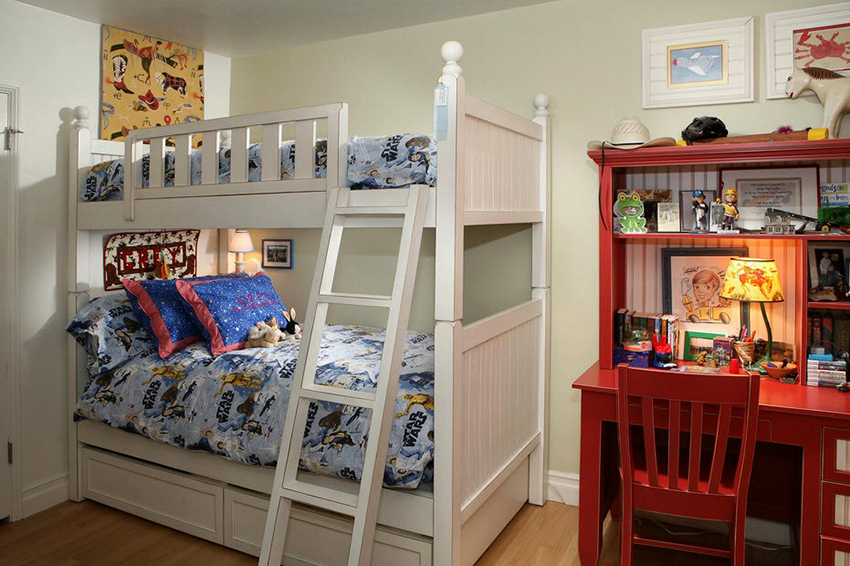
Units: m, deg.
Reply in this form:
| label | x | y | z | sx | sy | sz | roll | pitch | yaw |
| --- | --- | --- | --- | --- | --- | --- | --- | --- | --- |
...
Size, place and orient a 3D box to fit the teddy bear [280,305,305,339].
| label | x | y | z | sx | sy | sz | roll | pitch | yaw |
| --- | --- | --- | --- | --- | --- | --- | --- | --- | --- |
| teddy bear | -0.955 | 0.296 | 4.761 | 0.153 | 0.232 | 0.205 | -1 | 1 | -39 |

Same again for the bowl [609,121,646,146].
| label | x | y | z | sx | sy | sz | roll | pitch | yaw |
| --- | --- | --- | --- | --- | --- | --- | --- | --- | --- |
| bowl | 1.216 | -0.896 | 3.964 | 0.181 | 0.073 | 0.175 | -3 | 9 | 0 |

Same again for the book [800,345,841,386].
| label | x | y | z | sx | sy | sz | roll | pitch | yaw |
| --- | --- | --- | --- | --- | --- | --- | --- | --- | --- |
| book | 2.213 | 0.479 | 3.671 | 0.192 | 0.168 | 0.078 | 3 | 8 | 27 |

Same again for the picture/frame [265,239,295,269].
| label | x | y | z | sx | sy | sz | roll | pitch | yaw |
| --- | --- | --- | --- | --- | --- | --- | --- | --- | --- |
| picture/frame | -1.181 | -0.247 | 5.385 | 0.240 | 0.197 | 0.030 | 4 | 7 | 23 |

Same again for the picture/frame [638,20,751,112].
| label | x | y | z | sx | sy | sz | roll | pitch | yaw |
| --- | --- | --- | --- | --- | --- | --- | --- | --- | --- |
| picture/frame | 1.722 | -1.373 | 4.112 | 0.649 | 0.497 | 0.053 | 0 | 2 | 24 |

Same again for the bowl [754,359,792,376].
| label | x | y | z | sx | sy | sz | roll | pitch | yaw |
| --- | --- | --- | --- | --- | --- | --- | --- | --- | --- |
| bowl | 2.031 | 0.491 | 3.809 | 0.172 | 0.078 | 0.143 | 0 | 7 | 8 |
